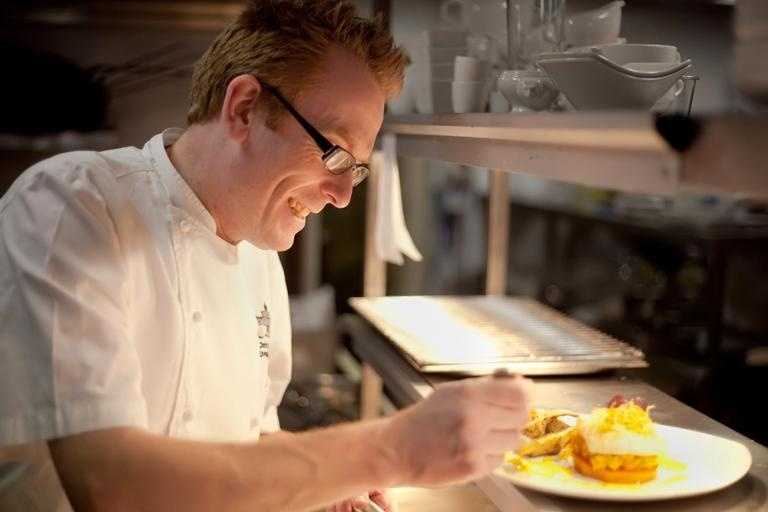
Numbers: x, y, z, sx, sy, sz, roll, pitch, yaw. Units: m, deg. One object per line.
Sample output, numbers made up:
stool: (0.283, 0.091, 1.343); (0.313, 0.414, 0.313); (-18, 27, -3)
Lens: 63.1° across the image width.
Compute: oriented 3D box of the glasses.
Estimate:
glasses: (-0.150, -0.275, 1.336); (0.064, 0.215, 0.203); (-32, -7, -6)

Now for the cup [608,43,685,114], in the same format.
cup: (0.380, -0.269, 0.928); (0.107, 0.065, 0.128); (-1, 17, 1)
